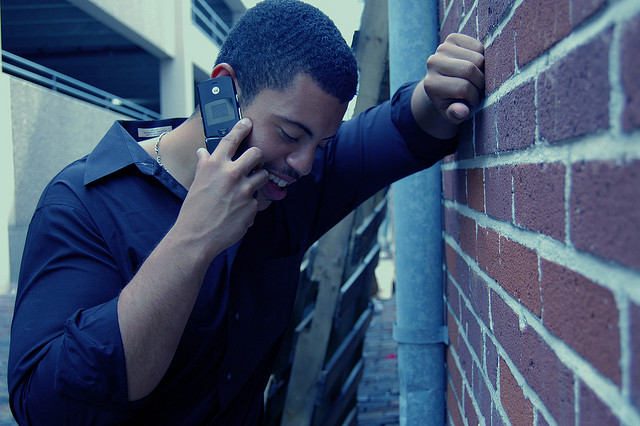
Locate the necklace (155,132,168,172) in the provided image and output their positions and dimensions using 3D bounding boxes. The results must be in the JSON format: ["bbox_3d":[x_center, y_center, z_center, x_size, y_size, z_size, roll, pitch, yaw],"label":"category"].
[{"bbox_3d":[-0.717,-0.286,2.346,0.060,0.133,0.221,5,15,-18],"label":"necklace"}]
